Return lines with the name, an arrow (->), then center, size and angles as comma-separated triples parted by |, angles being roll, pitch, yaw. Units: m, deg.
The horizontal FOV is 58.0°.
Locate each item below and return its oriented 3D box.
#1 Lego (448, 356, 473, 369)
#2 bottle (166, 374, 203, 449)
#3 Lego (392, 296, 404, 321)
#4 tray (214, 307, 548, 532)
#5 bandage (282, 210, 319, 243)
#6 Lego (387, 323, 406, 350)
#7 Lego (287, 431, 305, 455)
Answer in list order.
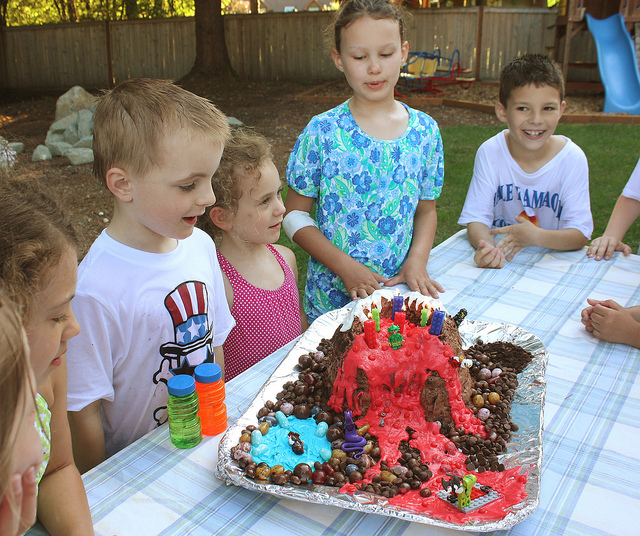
Lego -> 0.569, 0.374, 2.334 | 0.086, 0.045, 0.052 | 9, -3, -44
bottle -> -0.503, 0.539, 2.161 | 0.135, 0.290, 0.147 | 3, 23, -1
Lego -> 0.318, 0.168, 2.462 | 0.066, 0.145, 0.079 | 2, 4, 7
tray -> 0.335, 0.511, 2.379 | 1.097, 0.155, 1.389 | 4, 25, 23
bandage -> -0.118, -0.265, 3.814 | 0.204, 0.206, 0.235 | -8, 6, -7
Lego -> 0.311, 0.281, 2.358 | 0.068, 0.123, 0.046 | -3, -24, 0
Lego -> -0.090, 0.640, 2.117 | 0.027, 0.043, 0.069 | 15, 29, -36
